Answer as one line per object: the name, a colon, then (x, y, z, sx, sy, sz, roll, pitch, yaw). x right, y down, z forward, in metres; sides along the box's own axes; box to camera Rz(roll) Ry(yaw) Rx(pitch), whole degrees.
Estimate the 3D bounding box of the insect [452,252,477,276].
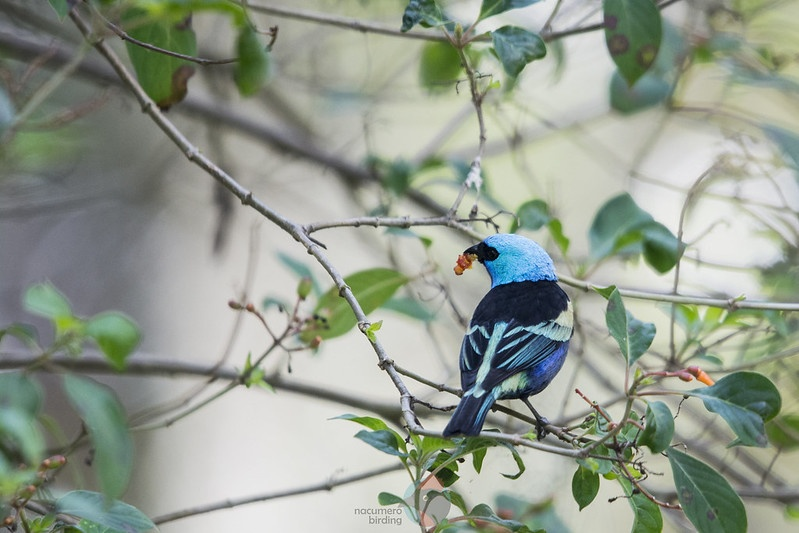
insect: (0.360, -0.011, 4.540, 0.049, 0.151, 0.102, -25, -80, 46)
